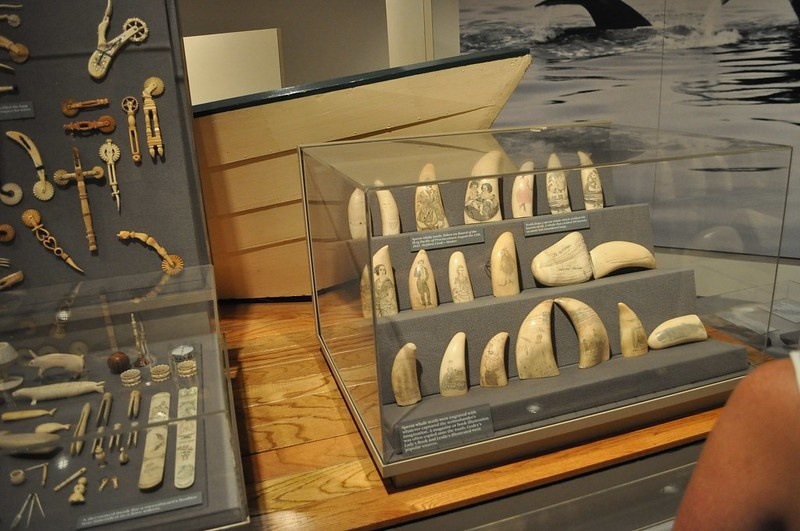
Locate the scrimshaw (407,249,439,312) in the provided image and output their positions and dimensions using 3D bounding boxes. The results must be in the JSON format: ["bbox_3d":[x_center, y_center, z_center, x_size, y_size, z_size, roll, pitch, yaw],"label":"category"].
[{"bbox_3d":[0.077,0.052,2.295,0.097,0.206,0.025,-7,9,0],"label":"scrimshaw"}]

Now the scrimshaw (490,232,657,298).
[{"bbox_3d":[0.650,-0.038,2.417,0.661,0.224,0.068,-9,9,-16],"label":"scrimshaw"}]

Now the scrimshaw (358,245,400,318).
[{"bbox_3d":[-0.074,0.063,2.201,0.133,0.234,0.143,-7,9,-5],"label":"scrimshaw"}]

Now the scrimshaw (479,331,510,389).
[{"bbox_3d":[0.345,0.339,2.317,0.126,0.187,0.036,-9,9,-16],"label":"scrimshaw"}]

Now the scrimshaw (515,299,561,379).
[{"bbox_3d":[0.501,0.270,2.344,0.175,0.273,0.052,-10,10,-18],"label":"scrimshaw"}]

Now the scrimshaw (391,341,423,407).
[{"bbox_3d":[0.020,0.369,2.225,0.125,0.190,0.049,-8,9,-31],"label":"scrimshaw"}]

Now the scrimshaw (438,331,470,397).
[{"bbox_3d":[0.195,0.353,2.321,0.081,0.238,0.073,-6,-11,43],"label":"scrimshaw"}]

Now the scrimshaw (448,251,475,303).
[{"bbox_3d":[0.216,0.043,2.320,0.080,0.183,0.028,-9,9,-11],"label":"scrimshaw"}]

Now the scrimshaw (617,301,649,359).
[{"bbox_3d":[0.868,0.243,2.426,0.105,0.198,0.039,-13,6,-18],"label":"scrimshaw"}]
